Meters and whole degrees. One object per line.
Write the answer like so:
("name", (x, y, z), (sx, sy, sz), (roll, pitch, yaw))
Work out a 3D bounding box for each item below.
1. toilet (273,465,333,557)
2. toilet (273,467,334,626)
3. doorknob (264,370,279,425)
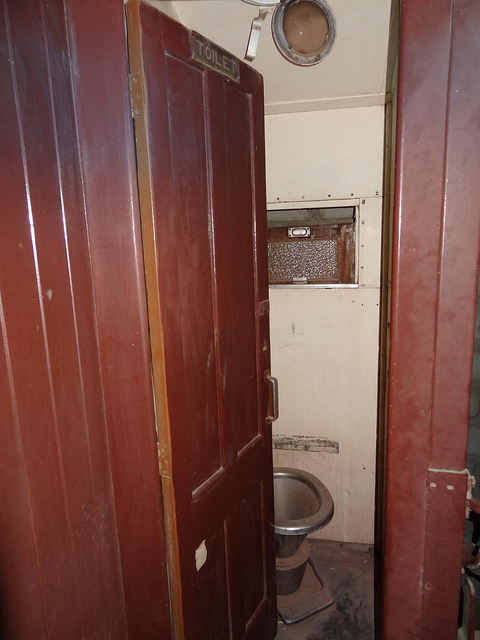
("toilet", (0.286, 0.884, 2.477), (0.276, 0.304, 0.304), (6, 4, 4))
("toilet", (0.295, 1.096, 2.495), (0.328, 0.532, 0.446), (-6, 11, -25))
("doorknob", (0.120, 0.309, 2.039), (0.051, 0.236, 0.085), (-1, 9, 1))
